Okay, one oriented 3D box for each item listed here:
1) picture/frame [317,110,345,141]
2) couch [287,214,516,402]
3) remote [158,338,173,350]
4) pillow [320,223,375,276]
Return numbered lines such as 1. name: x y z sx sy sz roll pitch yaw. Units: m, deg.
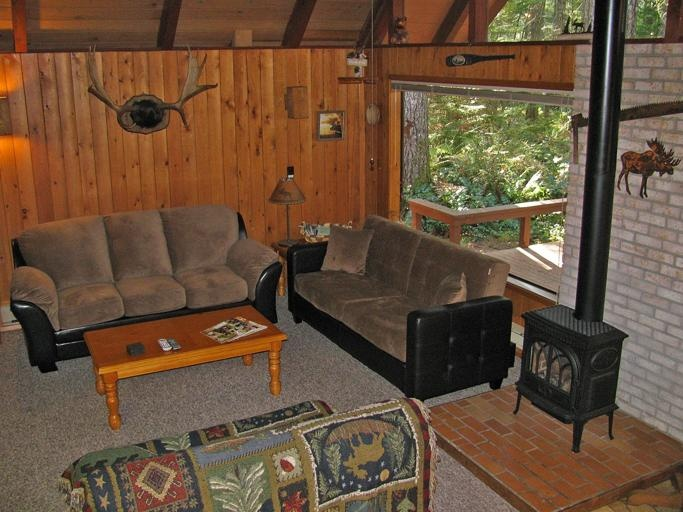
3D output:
1. picture/frame: -0.138 -1.607 6.748 0.417 0.359 0.039 -3 13 -24
2. couch: 0.426 0.356 4.982 1.039 0.949 2.196 -14 21 -27
3. remote: -1.321 0.668 4.166 0.056 0.016 0.162 -9 17 -19
4. pillow: 0.095 -0.164 5.578 0.534 0.492 0.130 2 60 1
